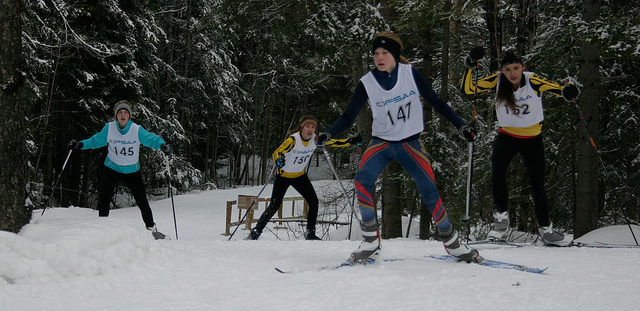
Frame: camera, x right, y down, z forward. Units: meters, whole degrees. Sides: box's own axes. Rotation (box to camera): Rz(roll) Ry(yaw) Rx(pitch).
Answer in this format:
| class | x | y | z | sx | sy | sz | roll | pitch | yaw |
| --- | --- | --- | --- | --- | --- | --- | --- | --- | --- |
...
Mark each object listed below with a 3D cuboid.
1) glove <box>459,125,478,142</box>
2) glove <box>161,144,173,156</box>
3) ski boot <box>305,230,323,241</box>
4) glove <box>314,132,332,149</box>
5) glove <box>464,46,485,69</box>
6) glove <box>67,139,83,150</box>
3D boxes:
| class | x | y | z | sx | sy | sz | roll | pitch | yaw |
| --- | --- | --- | --- | --- | --- | --- | --- | --- | --- |
| glove | 4.002 | -0.603 | 15.268 | 0.375 | 0.222 | 0.493 | 20 | 13 | -48 |
| glove | -4.666 | -0.201 | 17.260 | 0.322 | 0.258 | 0.336 | 0 | -47 | 43 |
| ski boot | -0.281 | 2.530 | 18.006 | 0.370 | 0.279 | 0.398 | 1 | -7 | 2 |
| glove | 0.088 | -0.434 | 15.577 | 0.444 | 0.406 | 0.716 | 1 | -7 | 0 |
| glove | 4.462 | -2.868 | 16.421 | 0.529 | 0.672 | 0.303 | 0 | -7 | 11 |
| glove | -7.572 | -0.328 | 17.489 | 0.419 | 0.295 | 0.360 | 2 | 12 | 29 |
